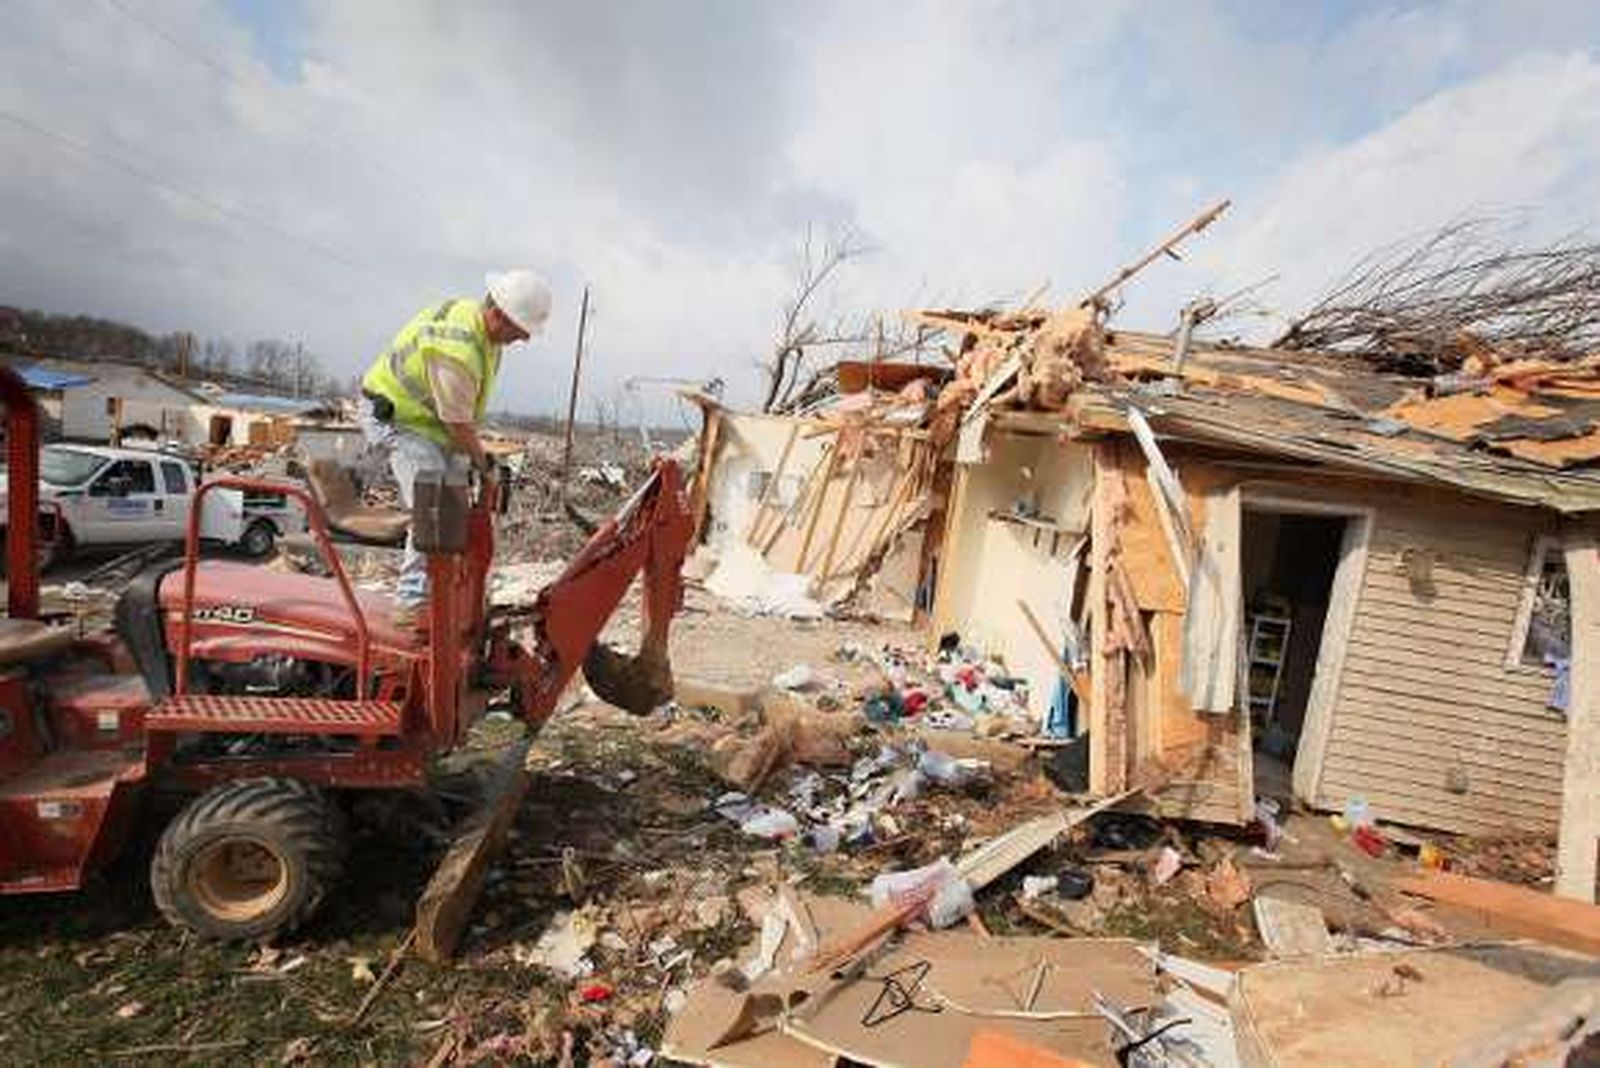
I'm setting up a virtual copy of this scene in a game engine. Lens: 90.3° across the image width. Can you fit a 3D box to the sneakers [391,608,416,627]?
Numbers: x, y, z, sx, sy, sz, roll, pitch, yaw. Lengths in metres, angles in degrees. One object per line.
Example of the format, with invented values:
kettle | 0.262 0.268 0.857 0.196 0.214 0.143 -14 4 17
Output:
sneakers | -2.629 0.516 5.297 0.116 0.131 0.195 -1 8 -16
